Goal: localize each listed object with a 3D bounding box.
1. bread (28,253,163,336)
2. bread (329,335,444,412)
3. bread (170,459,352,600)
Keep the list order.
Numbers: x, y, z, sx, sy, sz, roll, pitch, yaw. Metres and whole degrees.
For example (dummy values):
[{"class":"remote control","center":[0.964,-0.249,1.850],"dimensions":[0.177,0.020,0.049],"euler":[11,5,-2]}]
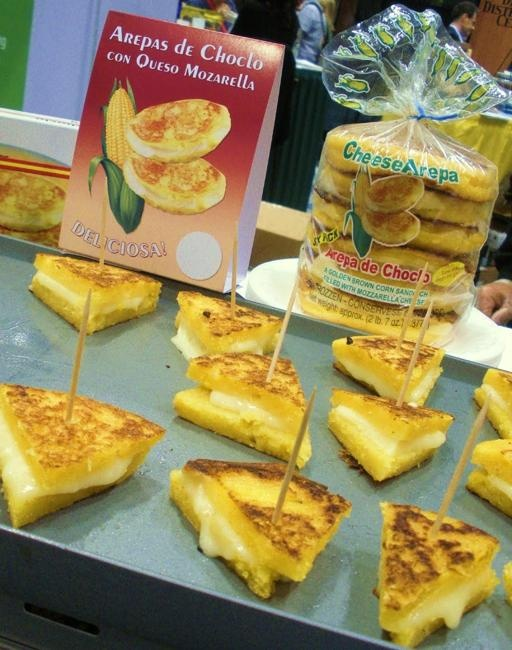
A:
[{"class":"bread","center":[-0.368,-0.086,1.304],"dimensions":[0.243,0.072,0.227],"euler":[25,25,23]},{"class":"bread","center":[0.260,0.065,1.270],"dimensions":[0.264,0.140,0.226],"euler":[-2,18,-21]},{"class":"bread","center":[0.023,0.260,0.813],"dimensions":[0.222,0.065,0.225],"euler":[0,24,-30]}]
